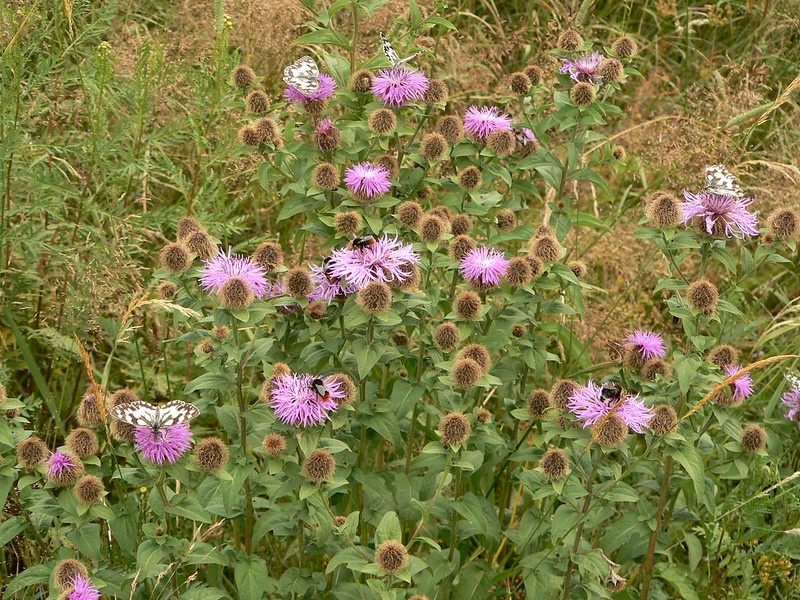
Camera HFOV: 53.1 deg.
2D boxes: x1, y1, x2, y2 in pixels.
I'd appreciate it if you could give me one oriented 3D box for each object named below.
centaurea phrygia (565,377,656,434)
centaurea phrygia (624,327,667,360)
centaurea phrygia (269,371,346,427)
[{"bbox_3d":[1.110,0.566,4.185,0.329,0.159,0.350,18,33,-1],"label":"centaurea phrygia"},{"bbox_3d":[1.452,0.223,4.751,0.203,0.130,0.218,8,27,-16],"label":"centaurea phrygia"},{"bbox_3d":[-0.487,0.439,4.255,0.328,0.168,0.321,-7,13,-39],"label":"centaurea phrygia"}]
